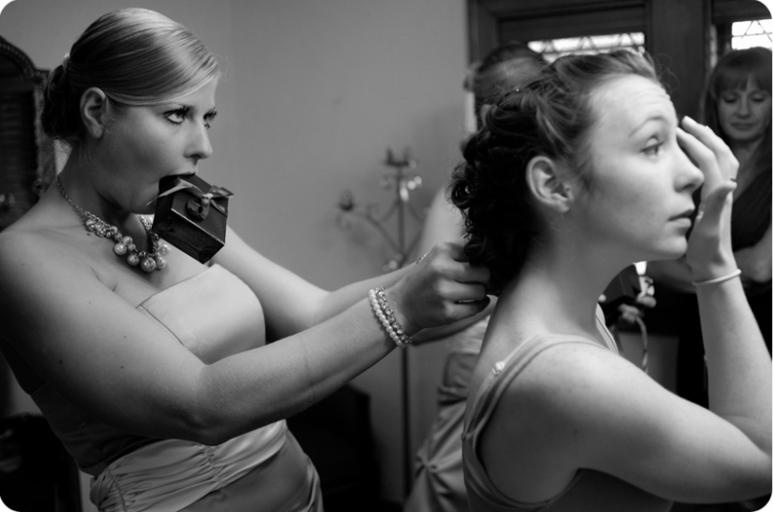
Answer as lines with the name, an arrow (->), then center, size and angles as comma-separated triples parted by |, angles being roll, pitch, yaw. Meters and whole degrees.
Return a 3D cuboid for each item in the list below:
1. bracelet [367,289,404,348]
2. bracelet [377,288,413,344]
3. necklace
bracelet -> 0.003, 0.134, 1.763 | 0.030, 0.107, 0.084 | -28, -12, 5
bracelet -> 0.017, 0.126, 1.758 | 0.026, 0.103, 0.080 | -23, 1, 5
necklace -> -0.641, -0.108, 1.907 | 0.274, 0.063, 0.323 | 22, -20, 22
